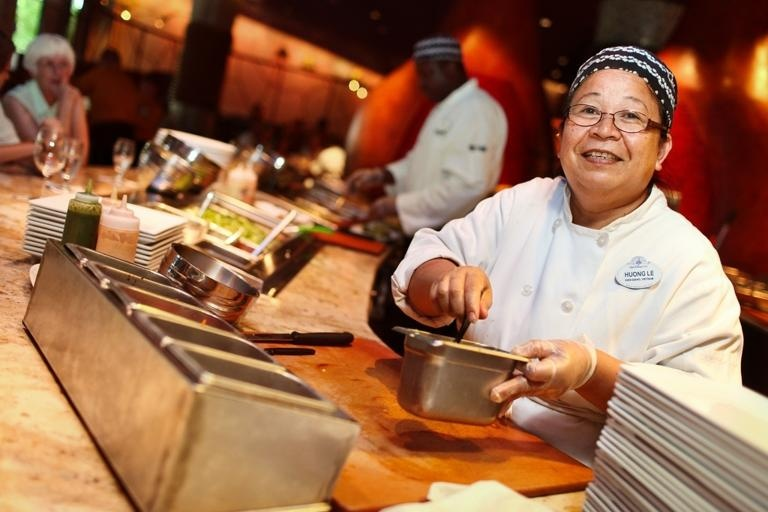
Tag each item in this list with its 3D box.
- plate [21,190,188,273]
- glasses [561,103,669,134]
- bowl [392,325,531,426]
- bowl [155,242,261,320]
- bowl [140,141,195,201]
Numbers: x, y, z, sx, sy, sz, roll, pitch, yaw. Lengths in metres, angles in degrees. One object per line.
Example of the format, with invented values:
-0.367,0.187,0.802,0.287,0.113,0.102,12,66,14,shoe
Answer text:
-0.850,-0.085,1.741,0.376,0.123,0.346,13,11,-1,plate
0.695,-0.396,1.705,0.284,0.057,0.121,19,12,17,glasses
0.167,0.294,1.383,0.316,0.183,0.231,15,-3,-28,bowl
-0.494,0.075,1.594,0.245,0.156,0.139,18,12,13,bowl
-1.122,-0.442,2.935,0.296,0.274,0.288,10,2,0,bowl
